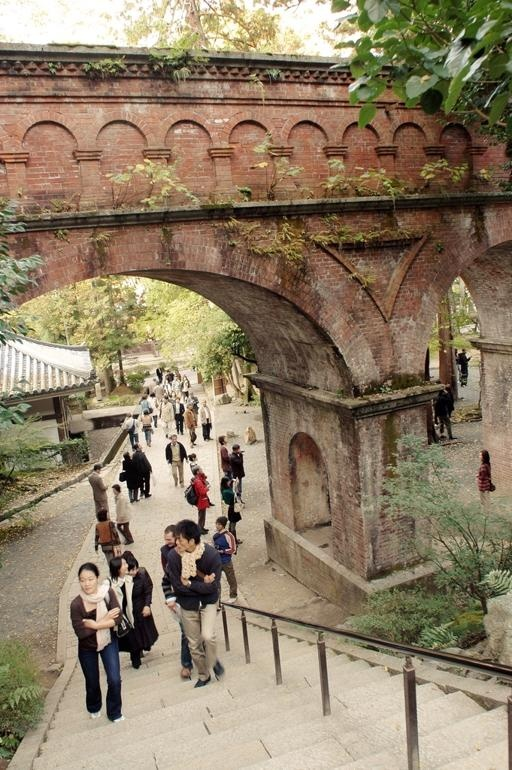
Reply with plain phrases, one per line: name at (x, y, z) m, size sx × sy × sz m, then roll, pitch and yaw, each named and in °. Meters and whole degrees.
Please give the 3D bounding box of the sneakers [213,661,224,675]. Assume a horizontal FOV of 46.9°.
sneakers at (-0.320, 2.539, 5.269) m, size 0.081 × 0.147 × 0.102 m, roll -5°, pitch 15°, yaw 2°

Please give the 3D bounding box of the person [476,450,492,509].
person at (4.006, 1.633, 10.416) m, size 0.260 × 0.974 × 1.349 m, roll -3°, pitch 0°, yaw 21°

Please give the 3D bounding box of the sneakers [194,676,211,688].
sneakers at (-0.456, 2.590, 5.158) m, size 0.057 × 0.063 × 0.153 m, roll -9°, pitch -16°, yaw 23°

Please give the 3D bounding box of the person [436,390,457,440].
person at (5.323, 0.800, 16.943) m, size 0.467 × 1.423 × 2.751 m, roll -3°, pitch 0°, yaw 17°
